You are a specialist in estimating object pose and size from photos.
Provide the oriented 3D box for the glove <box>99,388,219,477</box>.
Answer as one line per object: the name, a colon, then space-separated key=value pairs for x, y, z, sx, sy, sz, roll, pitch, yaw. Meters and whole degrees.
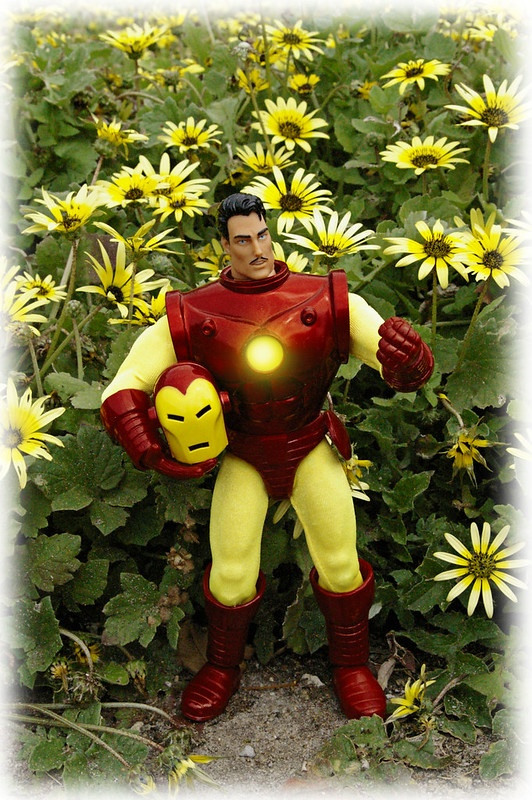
glove: x=-0.208 y=0.070 z=1.330 sx=0.222 sy=0.102 sz=0.137 roll=41 pitch=76 yaw=6

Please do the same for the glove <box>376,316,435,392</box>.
glove: x=0.262 y=-0.076 z=1.282 sx=0.110 sy=0.143 sz=0.074 roll=8 pitch=32 yaw=8

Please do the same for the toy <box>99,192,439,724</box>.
toy: x=0.023 y=0.163 z=1.394 sx=0.755 sy=1.072 sz=0.401 roll=-5 pitch=12 yaw=-13

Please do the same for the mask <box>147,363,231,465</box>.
mask: x=-0.140 y=0.031 z=1.269 sx=0.123 sy=0.172 sz=0.125 roll=-8 pitch=33 yaw=-17
